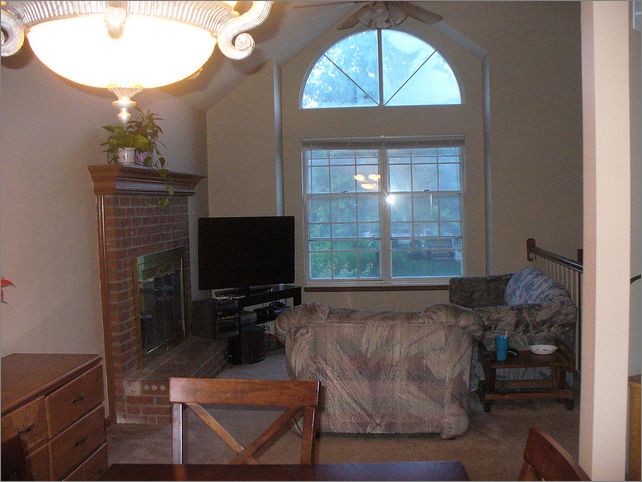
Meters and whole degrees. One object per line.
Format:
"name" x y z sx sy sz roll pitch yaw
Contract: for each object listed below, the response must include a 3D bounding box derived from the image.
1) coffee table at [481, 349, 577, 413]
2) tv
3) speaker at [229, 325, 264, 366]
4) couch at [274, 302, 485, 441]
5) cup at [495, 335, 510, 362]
"coffee table" 1.620 1.112 4.233 0.651 0.425 0.516 -1 -5 3
"tv" -0.794 0.153 5.630 0.826 0.606 0.223 -1 1 -24
"speaker" -0.729 1.051 5.628 0.351 0.380 0.386 0 4 10
"couch" 0.437 0.607 4.144 1.524 1.085 0.897 0 3 4
"cup" 1.407 0.836 4.219 0.096 0.192 0.131 1 9 17
